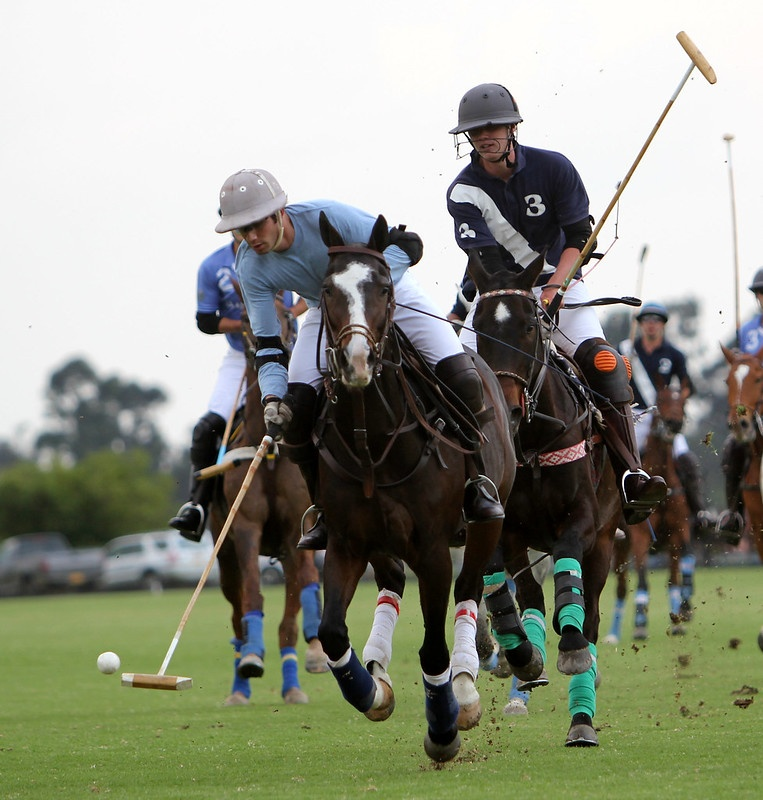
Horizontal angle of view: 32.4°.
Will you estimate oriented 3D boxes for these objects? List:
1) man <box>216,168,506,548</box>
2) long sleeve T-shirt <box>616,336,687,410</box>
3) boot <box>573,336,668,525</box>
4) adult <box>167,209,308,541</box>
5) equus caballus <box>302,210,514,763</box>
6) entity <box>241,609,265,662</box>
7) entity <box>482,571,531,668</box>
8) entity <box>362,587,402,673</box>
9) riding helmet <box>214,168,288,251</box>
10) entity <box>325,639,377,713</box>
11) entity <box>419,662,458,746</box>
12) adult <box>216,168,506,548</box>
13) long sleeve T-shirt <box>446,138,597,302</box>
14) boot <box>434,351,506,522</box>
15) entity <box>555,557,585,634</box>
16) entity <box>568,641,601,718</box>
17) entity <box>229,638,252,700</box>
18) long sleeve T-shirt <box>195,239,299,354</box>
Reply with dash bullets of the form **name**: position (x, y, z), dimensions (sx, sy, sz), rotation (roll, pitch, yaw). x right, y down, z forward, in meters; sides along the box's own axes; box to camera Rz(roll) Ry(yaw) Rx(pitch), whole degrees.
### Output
- **man**: position (-0.201, -0.240, 6.854), dimensions (1.329, 1.902, 0.900), rotation (-2, -13, -26)
- **long sleeve T-shirt**: position (2.580, -0.240, 12.500), dimensions (0.702, 0.920, 0.353), rotation (0, -8, 4)
- **boot**: position (1.414, 0.161, 7.853), dimensions (0.377, 1.322, 0.498), rotation (-15, -5, 18)
- **adult**: position (-0.820, -0.047, 8.276), dimensions (0.653, 2.395, 1.578), rotation (1, 17, -1)
- **equus caballus**: position (0.095, 0.443, 6.371), dimensions (0.754, 2.701, 1.601), rotation (-4, -4, 24)
- **entity**: position (-0.872, 1.576, 8.829), dimensions (0.158, 0.144, 0.405), rotation (11, 30, -9)
- **entity**: position (0.686, 1.203, 7.415), dimensions (0.172, 0.236, 0.589), rotation (-17, 36, 3)
- **entity**: position (0.000, 1.207, 6.906), dimensions (0.127, 0.159, 0.516), rotation (7, 33, 7)
- **riding helmet**: position (-0.662, -0.969, 6.634), dimensions (0.347, 0.450, 0.299), rotation (-2, -4, -5)
- **entity**: position (-0.104, 1.374, 6.417), dimensions (0.139, 0.234, 0.544), rotation (0, -24, 32)
- **entity**: position (0.289, 1.482, 6.405), dimensions (0.121, 0.426, 0.177), rotation (-2, 33, 8)
- **adult**: position (-0.183, -0.196, 6.978), dimensions (1.399, 1.950, 0.925), rotation (-8, 0, -25)
- **long sleeve T-shirt**: position (0.876, -1.164, 8.349), dimensions (0.844, 1.013, 0.681), rotation (-10, 8, 5)
- **boot**: position (0.451, 0.182, 6.531), dimensions (0.236, 0.970, 0.553), rotation (-5, 4, 25)
- **entity**: position (0.973, 1.021, 6.885), dimensions (0.152, 0.386, 0.221), rotation (-2, -4, 6)
- **entity**: position (1.073, 1.557, 7.034), dimensions (0.141, 0.252, 0.199), rotation (-2, -4, 6)
- **entity**: position (-1.011, 1.922, 9.468), dimensions (0.120, 0.508, 0.134), rotation (-8, -25, 15)
- **long sleeve T-shirt**: position (-0.809, -0.642, 8.072), dimensions (0.302, 1.200, 0.652), rotation (-4, 15, 11)
